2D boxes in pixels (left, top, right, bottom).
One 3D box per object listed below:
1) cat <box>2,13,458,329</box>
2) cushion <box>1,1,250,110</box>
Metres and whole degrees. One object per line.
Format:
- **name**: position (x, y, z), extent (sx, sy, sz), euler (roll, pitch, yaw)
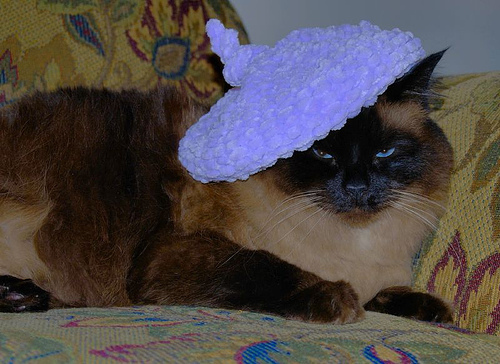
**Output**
- **cat**: position (-0.048, 0.006, 1.803), extent (0.986, 0.609, 0.736), euler (12, 23, 22)
- **cushion**: position (-0.368, -0.346, 1.857), extent (0.635, 0.392, 0.075), euler (-3, 12, -22)
